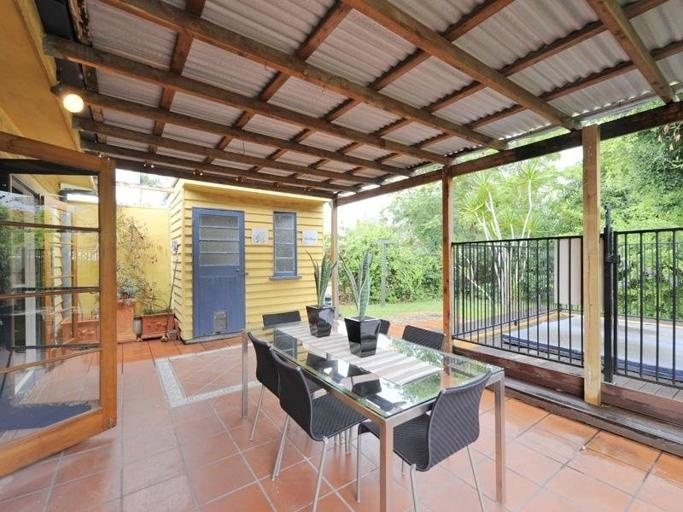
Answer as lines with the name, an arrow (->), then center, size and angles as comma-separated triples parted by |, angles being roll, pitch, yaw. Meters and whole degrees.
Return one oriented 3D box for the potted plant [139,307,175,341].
potted plant -> -3.117, 1.165, 6.783 | 0.540, 0.349, 0.595 | -2, 12, -23
